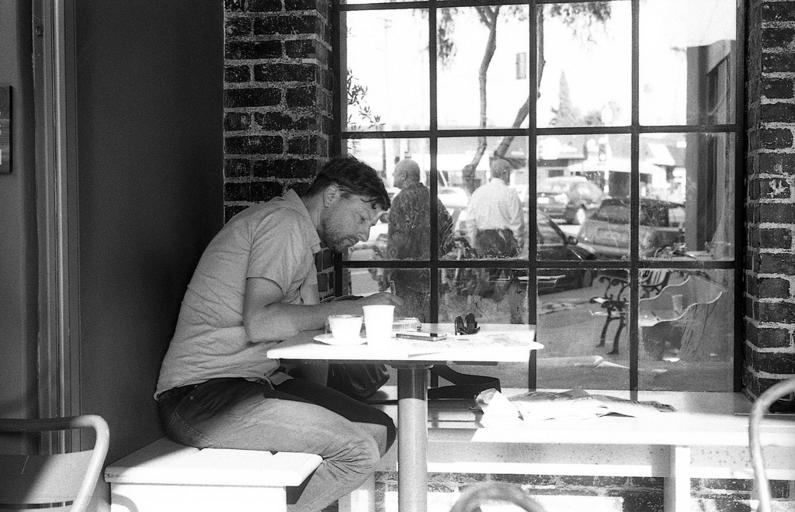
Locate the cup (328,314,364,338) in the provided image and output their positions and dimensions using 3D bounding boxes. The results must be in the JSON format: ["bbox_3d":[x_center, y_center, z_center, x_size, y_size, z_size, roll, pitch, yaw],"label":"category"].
[{"bbox_3d":[-0.195,0.262,3.183,0.098,0.057,0.092,-1,1,0],"label":"cup"}]

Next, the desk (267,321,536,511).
[{"bbox_3d":[0.107,0.648,3.304,0.811,0.750,0.796,2,7,8],"label":"desk"}]

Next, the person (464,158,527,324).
[{"bbox_3d":[0.481,-0.108,4.462,0.288,0.830,0.246,3,25,4],"label":"person"}]

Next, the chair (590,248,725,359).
[{"bbox_3d":[1.188,0.239,4.461,0.671,0.649,0.425,7,3,-11],"label":"chair"}]

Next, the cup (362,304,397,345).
[{"bbox_3d":[-0.070,0.262,3.264,0.137,0.131,0.137,-1,1,0],"label":"cup"}]
